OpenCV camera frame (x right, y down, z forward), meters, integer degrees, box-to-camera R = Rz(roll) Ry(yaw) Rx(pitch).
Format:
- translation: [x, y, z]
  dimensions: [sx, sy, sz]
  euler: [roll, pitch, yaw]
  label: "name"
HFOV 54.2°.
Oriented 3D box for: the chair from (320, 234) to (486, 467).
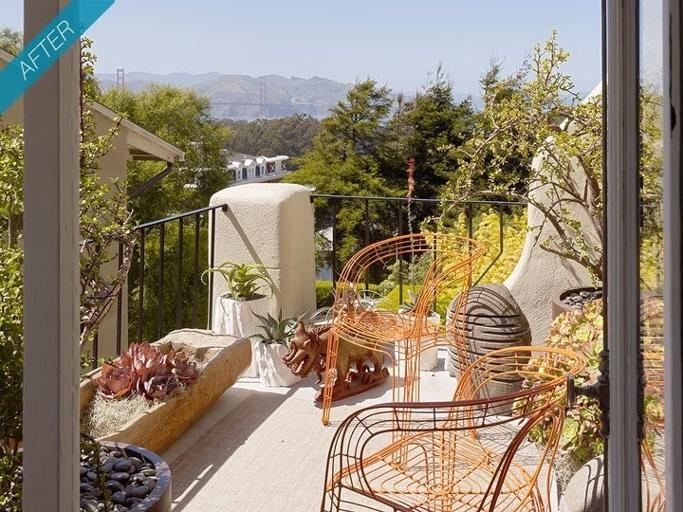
- translation: [0.401, 0.277, 3.299]
  dimensions: [0.847, 1.308, 0.857]
  euler: [4, 5, 43]
  label: "chair"
